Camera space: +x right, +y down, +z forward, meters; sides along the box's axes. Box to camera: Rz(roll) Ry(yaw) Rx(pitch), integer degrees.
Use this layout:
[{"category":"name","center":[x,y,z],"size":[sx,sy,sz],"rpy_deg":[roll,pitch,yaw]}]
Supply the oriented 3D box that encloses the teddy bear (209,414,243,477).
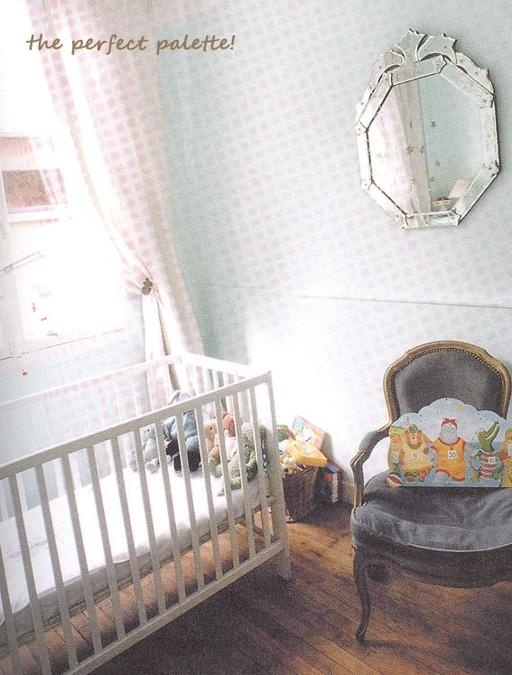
[{"category":"teddy bear","center":[-0.138,0.393,2.281],"size":[0.132,0.199,0.075],"rpy_deg":[-12,-17,33]}]

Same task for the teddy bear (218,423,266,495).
[{"category":"teddy bear","center":[-0.052,0.435,2.207],"size":[0.085,0.227,0.180],"rpy_deg":[-8,-3,13]}]

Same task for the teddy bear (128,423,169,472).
[{"category":"teddy bear","center":[-0.413,0.447,2.482],"size":[0.206,0.248,0.078],"rpy_deg":[-13,-14,31]}]

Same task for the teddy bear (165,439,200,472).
[{"category":"teddy bear","center":[-0.280,0.451,2.327],"size":[0.097,0.037,0.154],"rpy_deg":[-1,13,-17]}]

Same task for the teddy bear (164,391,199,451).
[{"category":"teddy bear","center":[-0.303,0.344,2.418],"size":[0.197,0.067,0.225],"rpy_deg":[-24,-26,-7]}]

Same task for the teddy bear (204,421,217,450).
[{"category":"teddy bear","center":[-0.179,0.379,2.378],"size":[0.038,0.099,0.077],"rpy_deg":[6,-3,-12]}]
